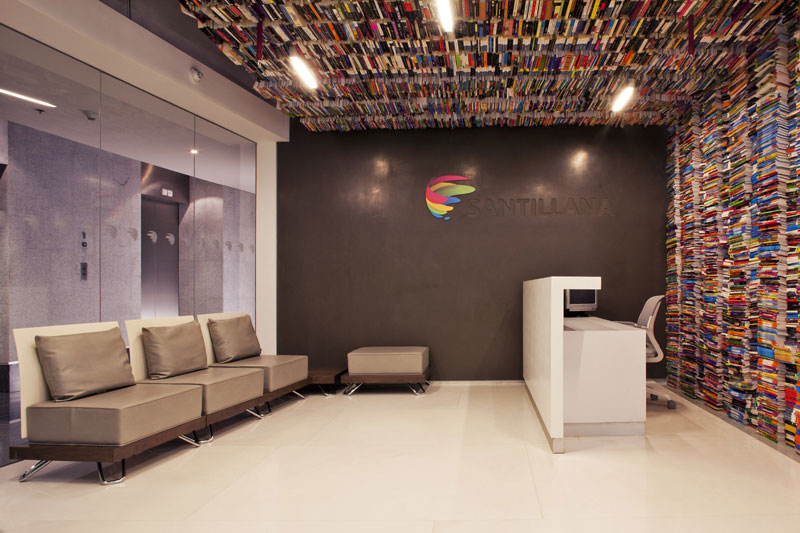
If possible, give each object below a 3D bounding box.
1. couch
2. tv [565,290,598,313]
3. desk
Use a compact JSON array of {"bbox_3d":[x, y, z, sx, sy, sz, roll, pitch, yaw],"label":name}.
[{"bbox_3d":[-2.566,1.303,6.379,1.210,1.354,3.884,-4,-3,18],"label":"couch"},{"bbox_3d":[2.655,0.509,7.442,0.375,0.295,0.195,1,1,-7],"label":"tv"},{"bbox_3d":[2.528,1.264,6.332,1.079,1.243,2.026,-1,0,8],"label":"desk"}]
